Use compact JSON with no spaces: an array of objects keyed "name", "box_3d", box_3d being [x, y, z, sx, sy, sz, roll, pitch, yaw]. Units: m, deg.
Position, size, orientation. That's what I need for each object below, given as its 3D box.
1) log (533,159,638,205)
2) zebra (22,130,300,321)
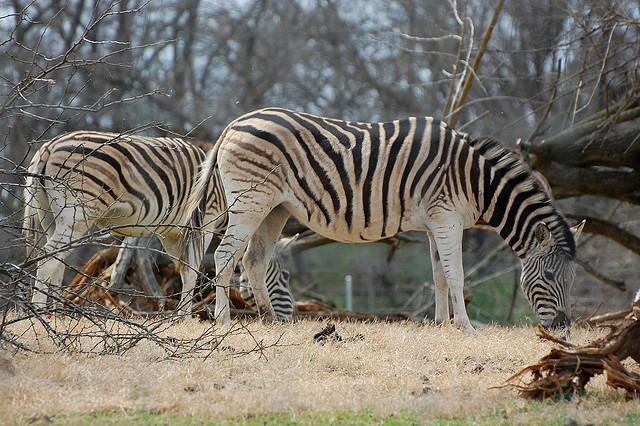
[{"name":"log","box_3d":[4.982,-0.632,16.914,1.978,1.179,0.444,11,2,8]},{"name":"zebra","box_3d":[-2.528,0.236,16.064,5.457,3.811,1.317,6,-15,-41]}]
